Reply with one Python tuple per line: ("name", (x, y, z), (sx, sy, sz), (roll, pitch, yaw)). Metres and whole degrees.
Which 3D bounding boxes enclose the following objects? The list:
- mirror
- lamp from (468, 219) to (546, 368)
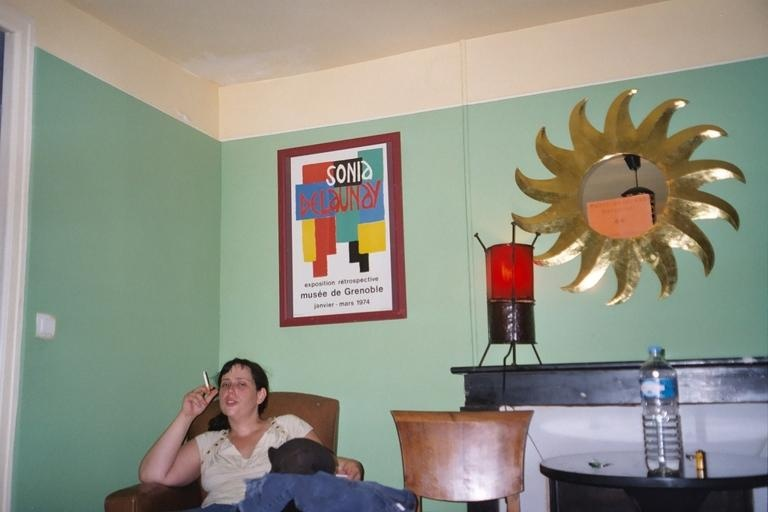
("mirror", (1.540, -0.322, 4.134), (1.221, 1.286, 0.075), (6, -8, 18))
("lamp", (0.750, 0.282, 4.041), (0.294, 0.706, 0.207), (-2, -8, 12))
